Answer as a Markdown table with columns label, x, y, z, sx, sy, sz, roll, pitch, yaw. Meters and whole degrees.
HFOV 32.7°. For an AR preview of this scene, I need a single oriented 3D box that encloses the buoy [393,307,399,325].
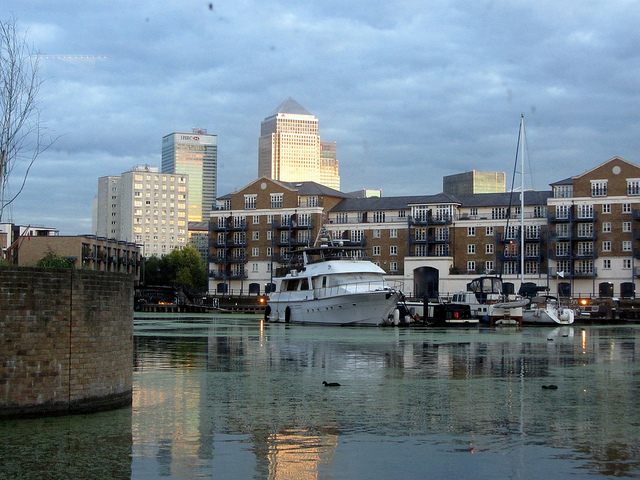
| label | x | y | z | sx | sy | sz | roll | pitch | yaw |
| --- | --- | --- | --- | --- | --- | --- | --- | --- | --- |
| buoy | 5.047 | 5.097 | 72.493 | 0.401 | 1.037 | 0.952 | 0 | 0 | 2 |

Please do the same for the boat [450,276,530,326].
| label | x | y | z | sx | sy | sz | roll | pitch | yaw |
| --- | --- | --- | --- | --- | --- | --- | --- | --- | --- |
| boat | 11.932 | 4.320 | 77.679 | 2.757 | 2.786 | 7.812 | -4 | 4 | -16 |

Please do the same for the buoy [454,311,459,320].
| label | x | y | z | sx | sy | sz | roll | pitch | yaw |
| --- | --- | --- | --- | --- | --- | --- | --- | --- | --- |
| buoy | 9.480 | 5.275 | 75.951 | 0.422 | 0.528 | 0.198 | -2 | -3 | 3 |

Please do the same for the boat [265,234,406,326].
| label | x | y | z | sx | sy | sz | roll | pitch | yaw |
| --- | --- | --- | --- | --- | --- | --- | --- | --- | --- |
| boat | 1.363 | 2.885 | 74.663 | 5.892 | 5.890 | 15.067 | 0 | -1 | -25 |

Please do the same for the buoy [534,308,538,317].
| label | x | y | z | sx | sy | sz | roll | pitch | yaw |
| --- | --- | --- | --- | --- | --- | --- | --- | --- | --- |
| buoy | 15.604 | 5.315 | 78.581 | 0.222 | 0.488 | 0.206 | 0 | 0 | 10 |
